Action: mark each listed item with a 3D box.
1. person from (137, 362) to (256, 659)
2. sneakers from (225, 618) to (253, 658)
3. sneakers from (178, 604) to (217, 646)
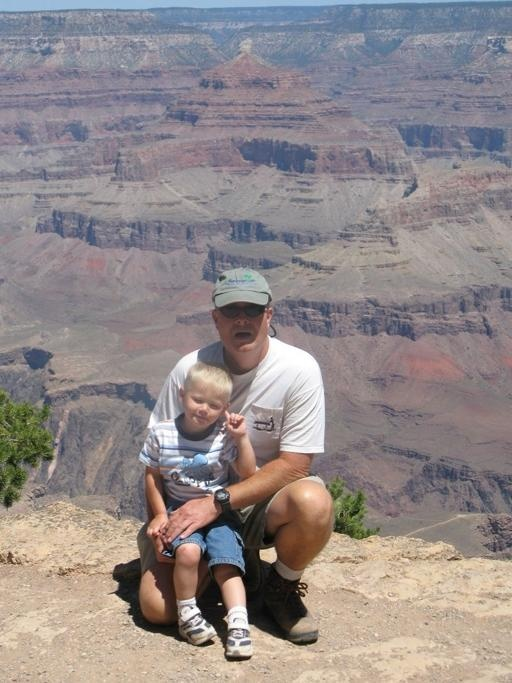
[{"bbox_3d":[-0.502,1.457,8.337,1.218,2.487,0.861,4,-12,4],"label":"person"},{"bbox_3d":[-0.130,2.504,7.757,0.229,0.259,0.223,5,-12,1],"label":"sneakers"},{"bbox_3d":[-0.505,2.425,7.985,0.319,0.327,0.234,5,-12,-1],"label":"sneakers"}]
